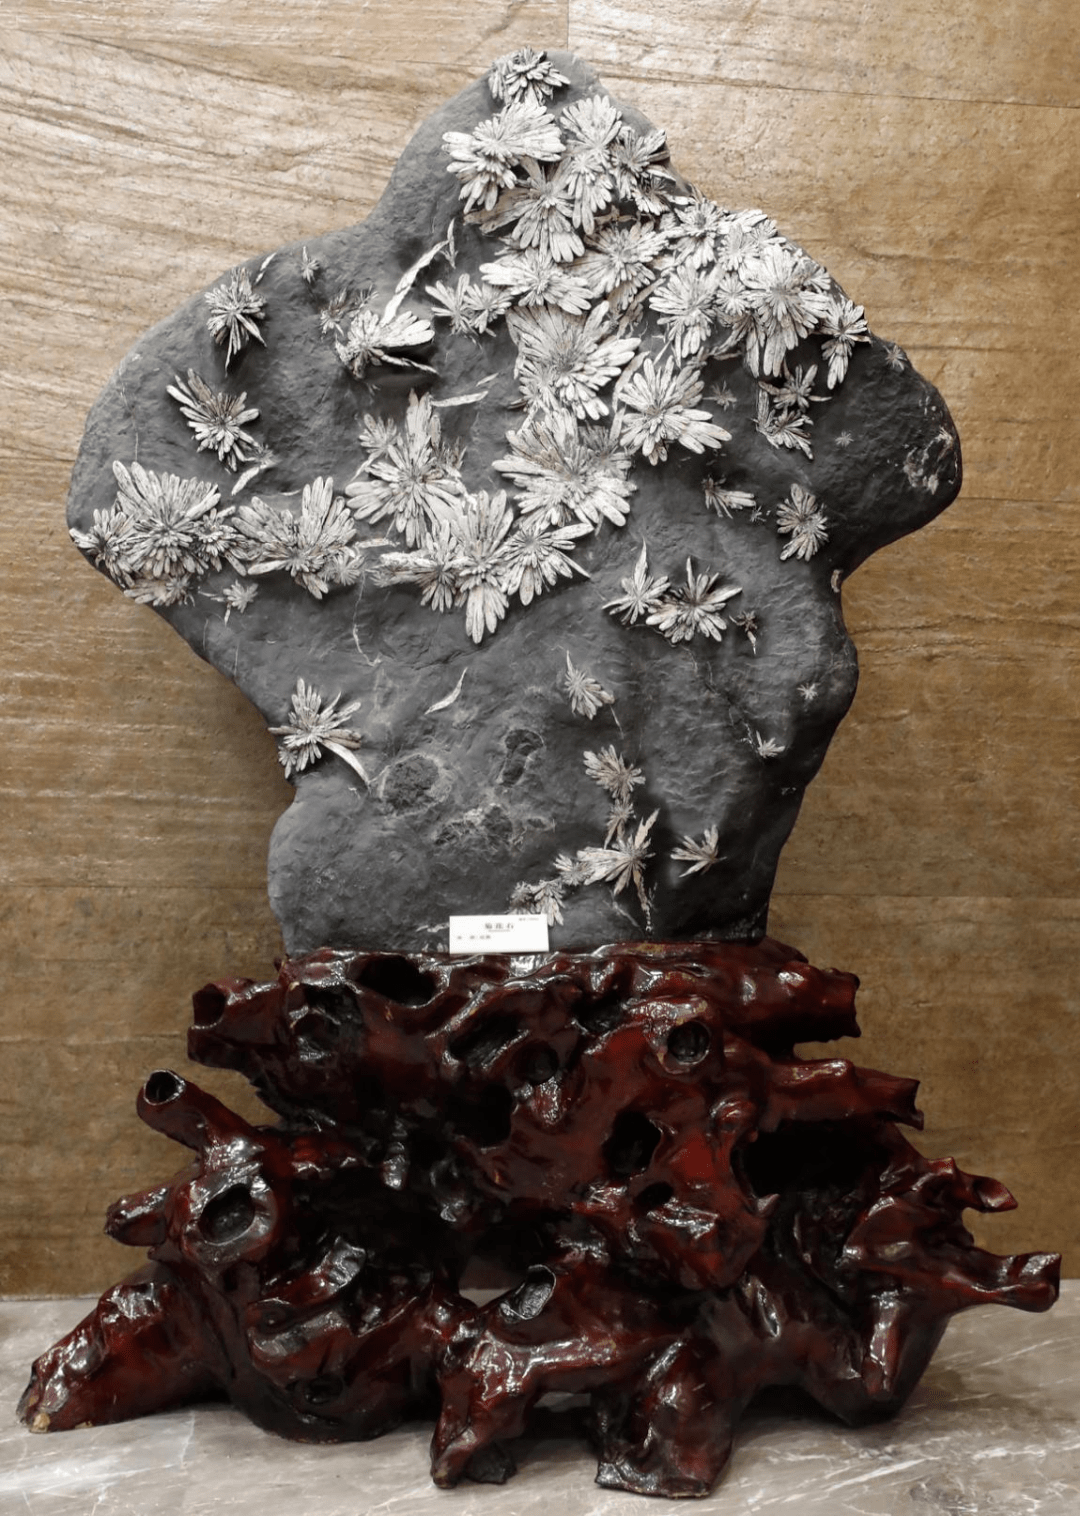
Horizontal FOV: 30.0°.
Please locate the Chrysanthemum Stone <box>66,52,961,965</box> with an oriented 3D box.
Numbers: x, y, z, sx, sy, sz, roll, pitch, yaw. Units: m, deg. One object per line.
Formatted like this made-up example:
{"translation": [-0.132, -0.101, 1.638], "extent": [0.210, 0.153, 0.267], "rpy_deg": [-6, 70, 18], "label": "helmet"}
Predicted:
{"translation": [-0.048, -0.253, 1.975], "extent": [0.758, 0.856, 0.434], "rpy_deg": [8, 18, 27], "label": "Chrysanthemum Stone"}
